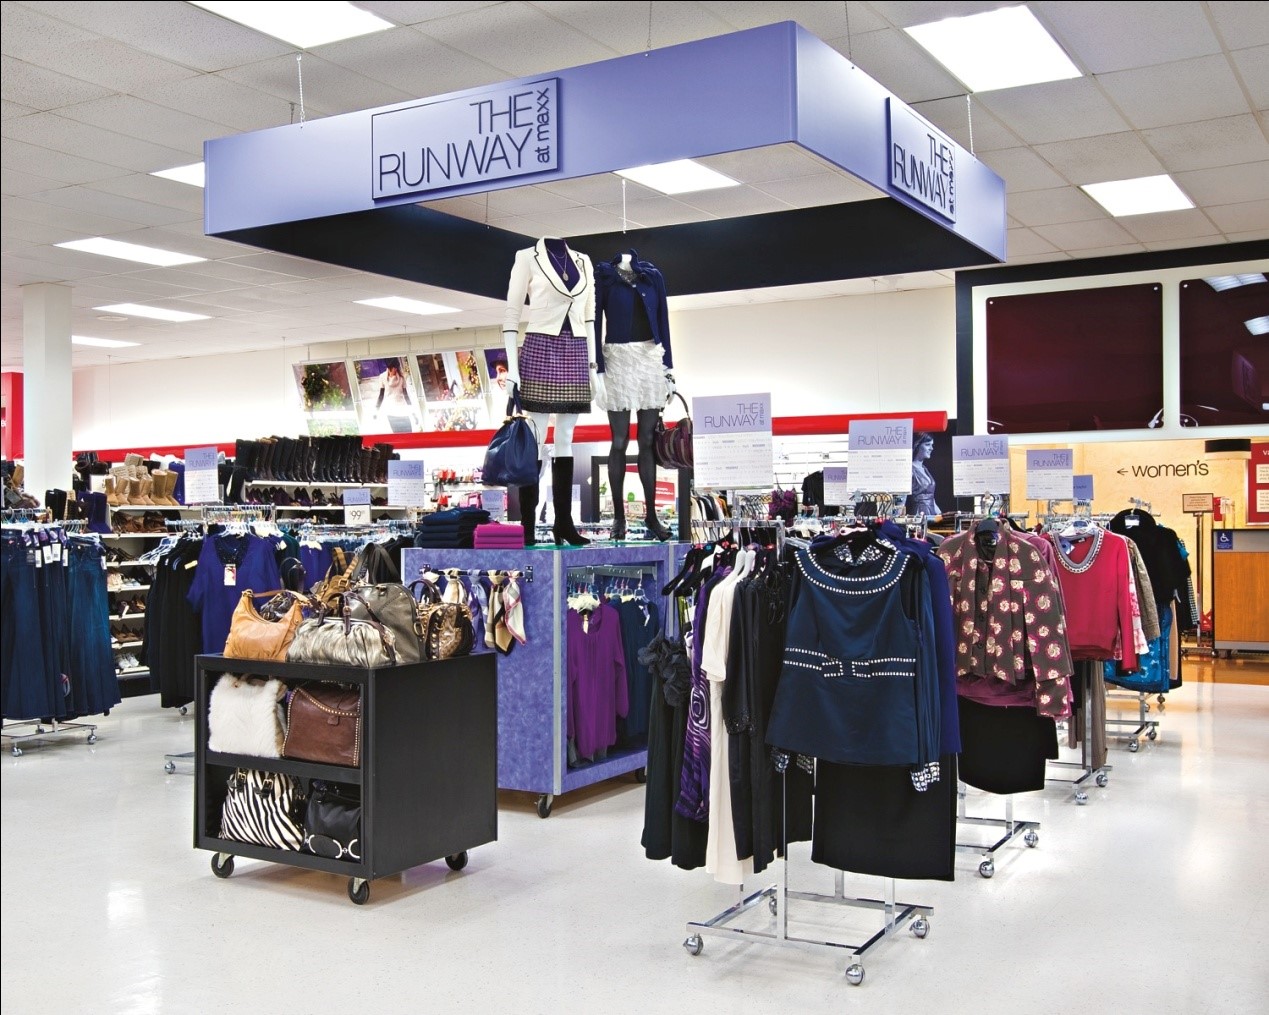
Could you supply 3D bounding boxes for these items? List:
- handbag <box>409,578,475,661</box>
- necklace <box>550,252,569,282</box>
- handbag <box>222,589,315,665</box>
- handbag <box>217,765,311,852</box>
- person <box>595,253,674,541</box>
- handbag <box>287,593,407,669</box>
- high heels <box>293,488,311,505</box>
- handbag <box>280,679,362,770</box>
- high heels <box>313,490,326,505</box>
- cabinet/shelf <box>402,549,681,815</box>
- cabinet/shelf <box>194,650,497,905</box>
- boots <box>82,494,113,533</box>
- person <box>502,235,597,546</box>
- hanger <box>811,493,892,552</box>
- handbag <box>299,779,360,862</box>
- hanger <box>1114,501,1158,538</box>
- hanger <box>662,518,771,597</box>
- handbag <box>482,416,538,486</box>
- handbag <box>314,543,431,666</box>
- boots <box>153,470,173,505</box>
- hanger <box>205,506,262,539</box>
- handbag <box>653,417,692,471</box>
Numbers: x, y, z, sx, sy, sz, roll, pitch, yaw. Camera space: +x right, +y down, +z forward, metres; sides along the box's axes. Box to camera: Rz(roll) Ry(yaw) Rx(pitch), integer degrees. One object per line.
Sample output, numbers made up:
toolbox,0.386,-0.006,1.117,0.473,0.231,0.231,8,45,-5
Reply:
handbag,-0.898,0.540,4.687,0.301,0.405,0.215,-12,29,-42
necklace,-0.471,-1.495,6.178,0.124,0.201,0.057,1,-2,-32
handbag,-1.725,0.565,4.667,0.445,0.370,0.192,4,-9,32
handbag,-1.680,1.375,4.529,0.446,0.457,0.184,0,-3,26
person,-0.050,-0.763,6.739,0.638,1.963,0.475,1,-2,-25
handbag,-1.278,0.538,4.452,0.542,0.400,0.311,-2,-7,37
high heels,-4.299,-0.153,12.800,0.213,0.228,0.465,1,-2,-21
handbag,-1.359,0.919,4.383,0.353,0.362,0.154,6,-2,15
high heels,-4.113,-0.144,12.908,0.156,0.203,0.252,1,-2,-17
cabinet/shelf,-0.554,0.923,5.314,0.784,1.302,1.487,0,-1,25
cabinet/shelf,-1.305,1.106,4.827,1.094,1.154,1.139,-2,-5,33
boots,-5.115,0.045,9.408,0.188,0.383,0.412,1,-2,-20
person,-0.539,-0.751,6.271,0.550,1.970,0.699,0,-2,-3
hanger,0.843,0.080,3.783,0.257,0.117,0.343,2,2,22
handbag,-1.320,1.365,4.291,0.232,0.331,0.115,2,-1,26
hanger,4.061,0.118,8.082,0.323,0.373,0.099,2,-25,27
hanger,0.324,0.213,3.882,0.389,0.296,0.425,1,-2,-17
handbag,-0.734,-0.347,5.899,0.328,0.417,0.242,0,-2,-8
handbag,-1.268,0.474,4.835,0.408,0.436,0.206,-4,-9,25
boots,-5.053,-0.212,10.679,0.194,0.359,0.363,0,-2,12
hanger,-2.970,0.094,7.278,0.361,0.204,1.105,1,-2,-24
handbag,0.269,-0.442,6.906,0.320,0.320,0.235,0,4,28
